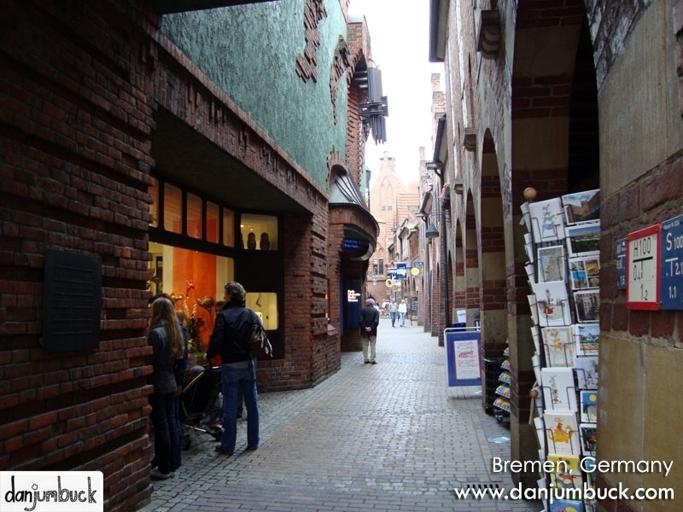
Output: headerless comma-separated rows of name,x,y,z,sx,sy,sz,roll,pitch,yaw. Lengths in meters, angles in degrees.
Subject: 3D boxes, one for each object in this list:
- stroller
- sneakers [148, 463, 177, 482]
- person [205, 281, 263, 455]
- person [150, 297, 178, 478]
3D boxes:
stroller,-2.090,2.099,7.870,0.749,0.936,0.622,1,-13,2
sneakers,-2.166,2.558,6.569,0.321,0.171,0.145,8,-4,2
person,-1.499,1.520,7.669,0.743,2.319,0.526,1,-3,-16
person,-2.136,1.556,6.593,0.386,2.143,0.370,1,-3,-18
